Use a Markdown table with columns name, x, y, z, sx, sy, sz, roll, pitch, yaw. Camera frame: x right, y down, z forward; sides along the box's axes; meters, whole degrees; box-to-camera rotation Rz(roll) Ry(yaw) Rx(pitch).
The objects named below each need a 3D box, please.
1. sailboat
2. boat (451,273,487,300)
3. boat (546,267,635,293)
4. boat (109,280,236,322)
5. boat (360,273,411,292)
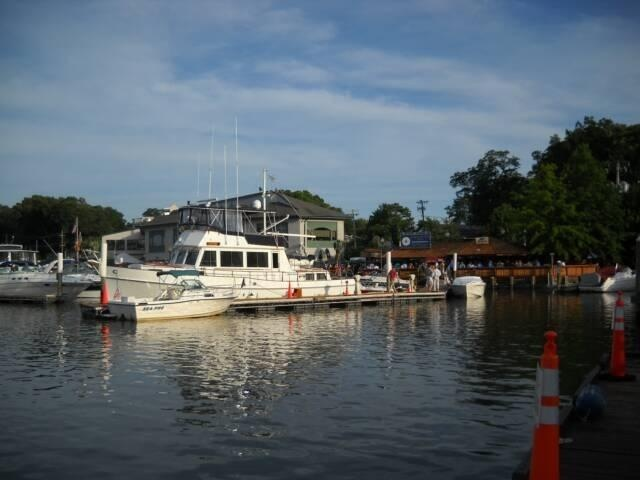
| name | x | y | z | sx | sy | sz | roll | pitch | yaw |
| --- | --- | --- | --- | --- | --- | --- | --- | --- | --- |
| sailboat | -4.470 | -0.163 | 39.690 | 3.503 | 6.464 | 13.803 | -2 | -5 | 43 |
| boat | 10.226 | 3.301 | 52.643 | 2.240 | 1.531 | 1.419 | 3 | -4 | -19 |
| boat | 21.418 | 3.147 | 59.097 | 6.060 | 1.981 | 4.525 | -1 | -4 | 26 |
| boat | -6.711 | 2.800 | 35.032 | 6.177 | 1.668 | 1.931 | 0 | 0 | -38 |
| boat | 4.482 | 2.966 | 52.846 | 2.453 | 0.769 | 1.380 | -1 | 1 | -17 |
